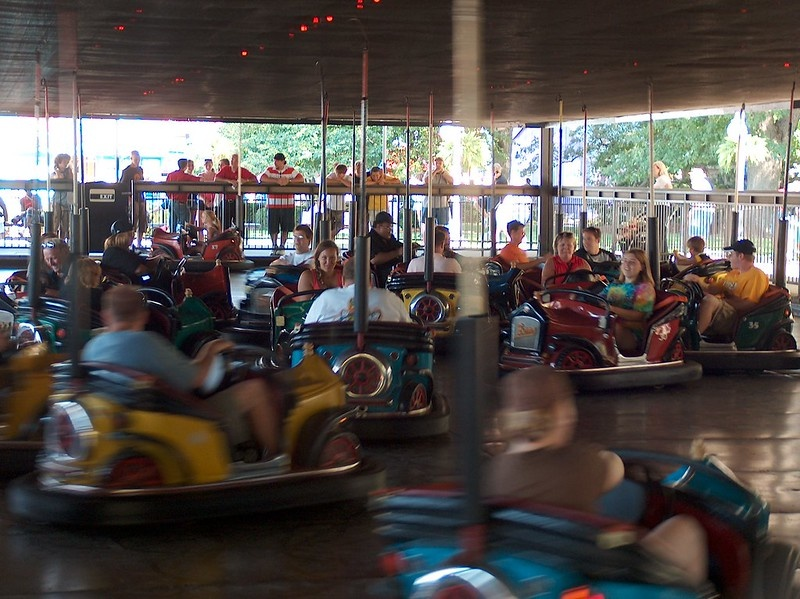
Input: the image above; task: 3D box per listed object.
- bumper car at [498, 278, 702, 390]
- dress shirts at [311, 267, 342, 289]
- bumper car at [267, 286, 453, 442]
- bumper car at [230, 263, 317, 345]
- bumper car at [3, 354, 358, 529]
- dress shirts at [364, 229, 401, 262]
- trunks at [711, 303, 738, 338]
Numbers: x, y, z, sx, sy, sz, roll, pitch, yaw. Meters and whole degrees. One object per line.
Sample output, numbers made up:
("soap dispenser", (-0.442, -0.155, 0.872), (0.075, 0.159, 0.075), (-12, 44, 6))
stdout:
("bumper car", (1.499, 0.262, 5.730), (1.176, 0.531, 0.830), (2, -3, -18))
("dress shirts", (-0.576, -0.150, 6.001), (0.251, 0.255, 0.143), (-1, 5, -24))
("bumper car", (-0.249, 0.381, 4.288), (0.741, 0.557, 1.189), (-1, 6, -2))
("bumper car", (-1.237, -0.048, 7.261), (0.966, 0.483, 1.441), (6, 16, 16))
("bumper car", (-0.856, 0.511, 3.257), (1.139, 0.507, 0.759), (-1, 1, -25))
("dress shirts", (-0.161, -0.553, 7.875), (0.267, 0.372, 0.353), (-6, -21, -22))
("trunks", (2.765, 0.147, 6.389), (0.178, 0.327, 0.233), (12, 24, 34))
